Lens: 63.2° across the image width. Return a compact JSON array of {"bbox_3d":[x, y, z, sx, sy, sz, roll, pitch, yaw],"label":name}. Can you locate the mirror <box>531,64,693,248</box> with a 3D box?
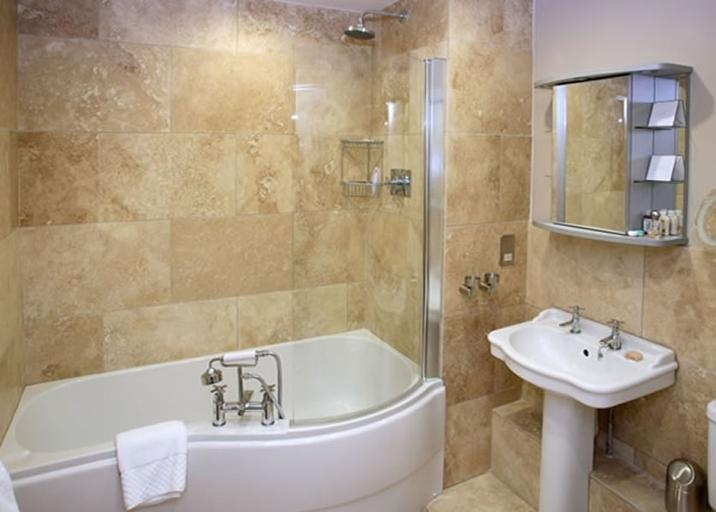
[{"bbox_3d":[1.346,-0.558,3.275,0.324,0.900,0.919,-10,14,-23],"label":"mirror"}]

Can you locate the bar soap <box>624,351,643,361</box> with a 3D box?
[{"bbox_3d":[1.484,0.535,3.135,0.093,0.036,0.074,4,9,37],"label":"bar soap"}]

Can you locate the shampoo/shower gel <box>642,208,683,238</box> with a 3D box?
[{"bbox_3d":[1.590,-0.174,3.039,0.157,0.144,0.115,-3,7,-11],"label":"shampoo/shower gel"}]

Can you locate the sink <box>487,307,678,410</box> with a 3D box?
[{"bbox_3d":[1.214,0.570,3.230,0.738,0.333,0.728,-5,8,-27],"label":"sink"}]
